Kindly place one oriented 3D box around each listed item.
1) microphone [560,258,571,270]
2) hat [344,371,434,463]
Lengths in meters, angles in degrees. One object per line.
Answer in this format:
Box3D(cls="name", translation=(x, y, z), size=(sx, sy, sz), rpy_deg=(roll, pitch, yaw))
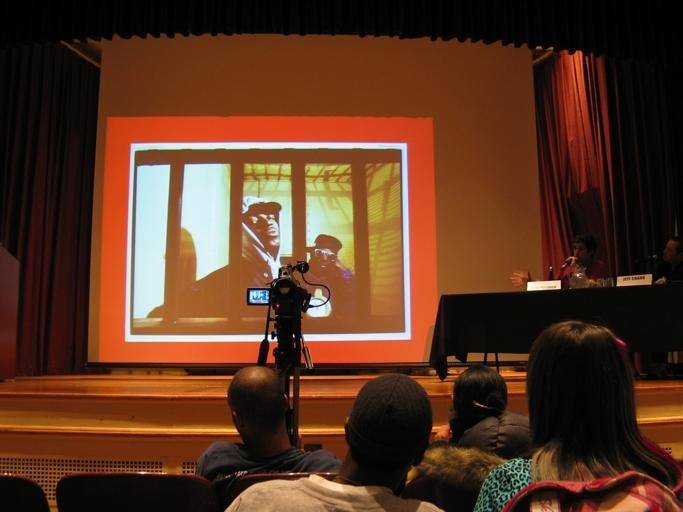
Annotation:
Box3D(cls="microphone", translation=(2.111, 0.073, 6.296), size=(0.024, 0.084, 0.082), rpy_deg=(31, 2, 23))
Box3D(cls="hat", translation=(0.196, 0.674, 2.757), size=(0.293, 0.322, 0.372), rpy_deg=(8, -11, 2))
